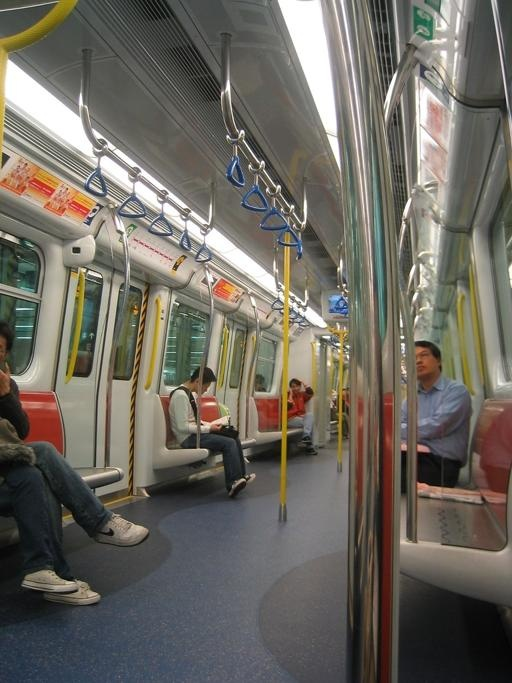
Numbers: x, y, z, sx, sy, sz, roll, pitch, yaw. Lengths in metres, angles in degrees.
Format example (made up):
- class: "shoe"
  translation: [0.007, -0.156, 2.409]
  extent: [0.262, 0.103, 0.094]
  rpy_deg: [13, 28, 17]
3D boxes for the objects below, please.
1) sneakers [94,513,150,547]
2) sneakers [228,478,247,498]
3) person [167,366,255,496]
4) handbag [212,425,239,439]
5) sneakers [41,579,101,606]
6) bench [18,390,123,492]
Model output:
- class: "sneakers"
  translation: [-0.960, 1.335, 2.937]
  extent: [0.401, 0.289, 0.188]
  rpy_deg: [-1, 9, 8]
- class: "sneakers"
  translation: [-0.242, 1.910, 5.220]
  extent: [0.124, 0.397, 0.164]
  rpy_deg: [11, 26, -37]
- class: "person"
  translation: [-0.704, 1.216, 5.612]
  extent: [1.115, 1.731, 1.010]
  rpy_deg: [3, -6, -15]
- class: "handbag"
  translation: [-0.420, 1.298, 5.749]
  extent: [0.219, 0.112, 0.207]
  rpy_deg: [12, -12, 1]
- class: "sneakers"
  translation: [-1.132, 1.557, 2.421]
  extent: [0.264, 0.171, 0.175]
  rpy_deg: [5, -23, 1]
- class: "bench"
  translation: [-1.803, 0.874, 3.992]
  extent: [0.669, 1.078, 0.931]
  rpy_deg: [1, -12, -11]
